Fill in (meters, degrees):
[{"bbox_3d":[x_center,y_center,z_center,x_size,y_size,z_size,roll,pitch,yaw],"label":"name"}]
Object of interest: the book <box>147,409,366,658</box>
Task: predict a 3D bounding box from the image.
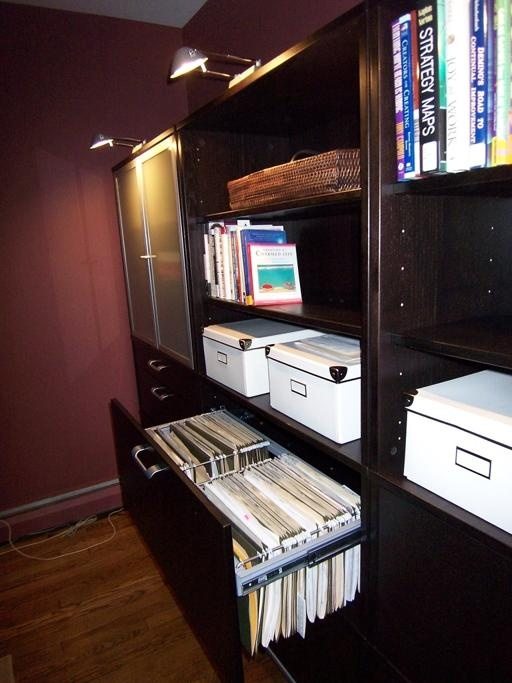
[{"bbox_3d":[-0.038,0.327,1.216,0.424,0.207,0.604,-11,22,-30],"label":"book"}]
